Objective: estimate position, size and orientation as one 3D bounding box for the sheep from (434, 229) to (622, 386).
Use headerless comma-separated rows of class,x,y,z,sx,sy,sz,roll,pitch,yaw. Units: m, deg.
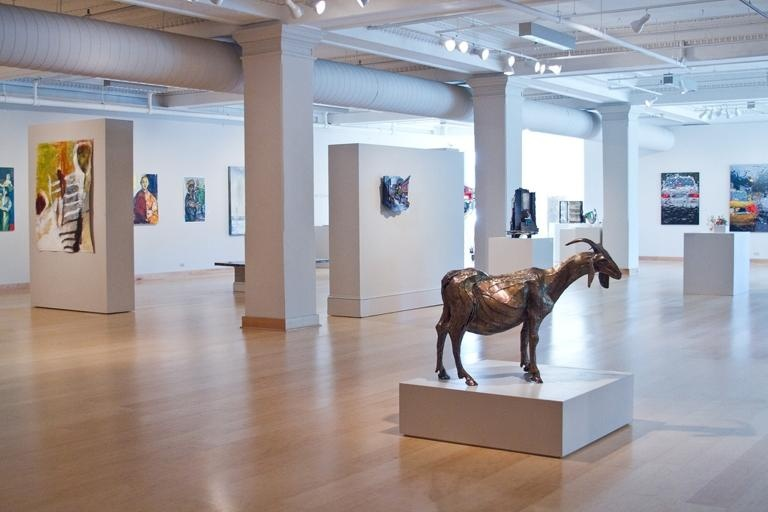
sheep,1.323,0.487,5.137,1.674,1.293,0.551,-1,1,-2
